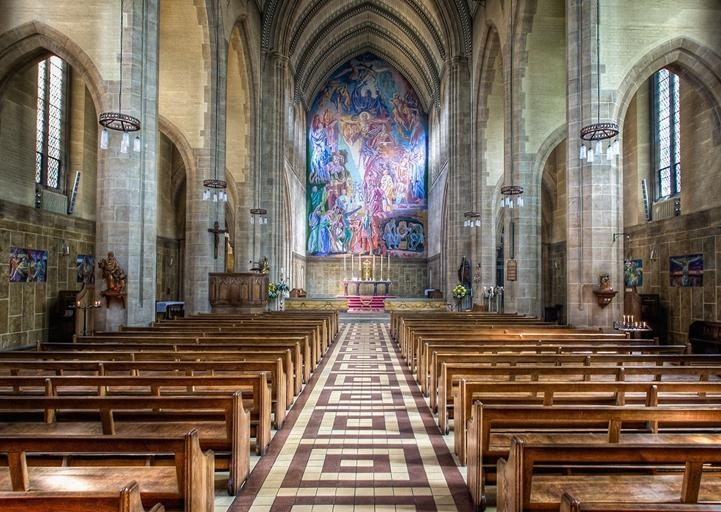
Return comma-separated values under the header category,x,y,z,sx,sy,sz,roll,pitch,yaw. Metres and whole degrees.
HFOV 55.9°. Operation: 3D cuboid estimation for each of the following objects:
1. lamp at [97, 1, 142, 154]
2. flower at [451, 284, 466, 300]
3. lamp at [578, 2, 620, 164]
category,x,y,z,sx,sy,sz,roll,pitch,yaw
lamp,-6.102,-4.741,17.317,1.014,4.369,2.211,0,-3,-18
flower,4.404,1.639,30.526,0.606,0.691,0.652,1,9,4
lamp,6.186,-4.795,17.752,1.011,4.628,2.280,-1,-3,19
